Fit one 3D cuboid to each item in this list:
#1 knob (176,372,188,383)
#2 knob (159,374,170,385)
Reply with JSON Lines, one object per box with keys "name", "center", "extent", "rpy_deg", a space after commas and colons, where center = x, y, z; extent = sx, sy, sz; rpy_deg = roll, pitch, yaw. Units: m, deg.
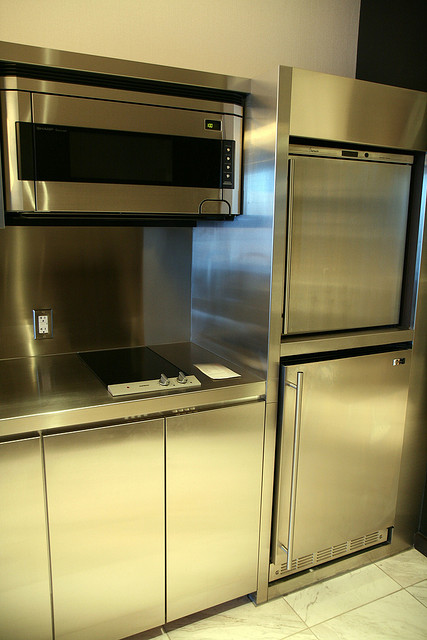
{"name": "knob", "center": [-0.100, 0.182, 1.610], "extent": [0.035, 0.036, 0.023], "rpy_deg": [3, 4, -13]}
{"name": "knob", "center": [-0.150, 0.180, 1.548], "extent": [0.029, 0.029, 0.020], "rpy_deg": [-9, 16, -26]}
